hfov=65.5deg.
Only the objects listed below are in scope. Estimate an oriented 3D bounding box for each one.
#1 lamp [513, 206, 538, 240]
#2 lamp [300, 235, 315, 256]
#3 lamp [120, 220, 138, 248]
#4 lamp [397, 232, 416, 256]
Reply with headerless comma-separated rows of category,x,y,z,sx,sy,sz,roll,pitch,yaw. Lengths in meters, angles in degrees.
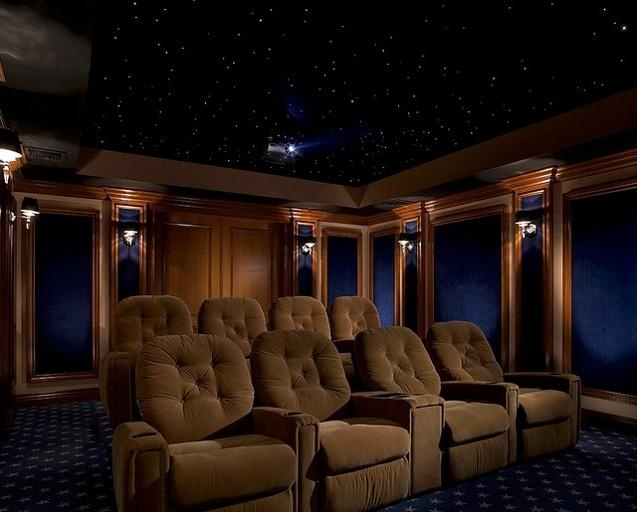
lamp,2.345,-0.356,5.574,0.251,0.435,0.268,-3,-18,14
lamp,-0.170,-0.170,7.643,0.201,0.292,0.263,7,5,0
lamp,-2.392,-0.274,6.281,0.210,0.327,0.139,0,0,-25
lamp,1.331,-0.173,7.363,0.267,0.429,0.279,10,-13,-34
